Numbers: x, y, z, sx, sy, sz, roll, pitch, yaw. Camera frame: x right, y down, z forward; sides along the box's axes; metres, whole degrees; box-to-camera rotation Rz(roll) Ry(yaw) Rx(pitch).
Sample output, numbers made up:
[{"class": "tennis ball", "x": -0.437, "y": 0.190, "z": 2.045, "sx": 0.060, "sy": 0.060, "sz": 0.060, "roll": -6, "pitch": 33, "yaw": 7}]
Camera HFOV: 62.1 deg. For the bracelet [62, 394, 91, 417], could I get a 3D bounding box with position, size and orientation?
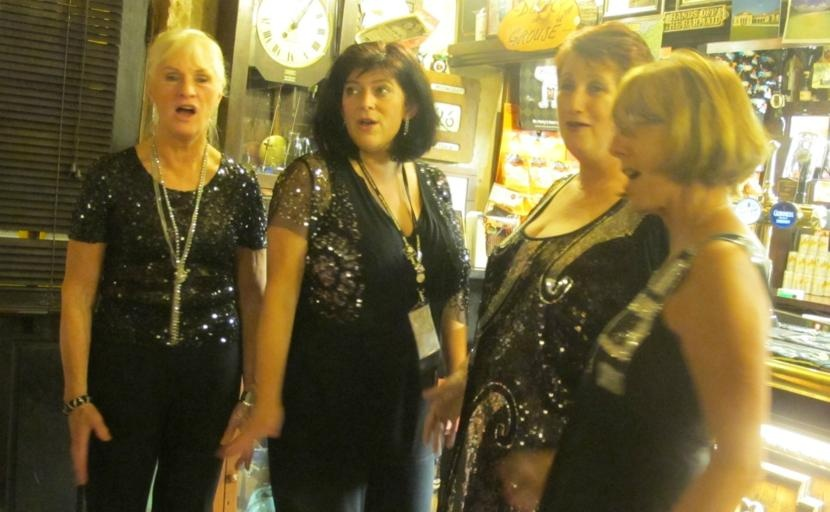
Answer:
[{"class": "bracelet", "x": -1.111, "y": 0.494, "z": 2.291, "sx": 0.091, "sy": 0.056, "sz": 0.079, "roll": -30, "pitch": -7, "yaw": -33}]
